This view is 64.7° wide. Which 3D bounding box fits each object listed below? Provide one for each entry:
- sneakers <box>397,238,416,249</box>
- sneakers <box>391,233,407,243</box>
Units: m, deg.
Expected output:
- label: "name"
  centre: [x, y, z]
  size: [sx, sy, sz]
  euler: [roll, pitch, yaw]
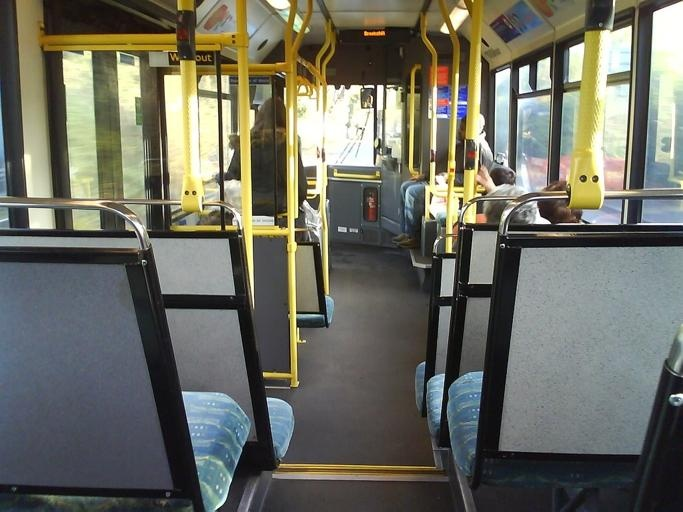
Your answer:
- label: "sneakers"
  centre: [1.022, -0.194, 8.382]
  size: [0.320, 0.149, 0.121]
  euler: [2, 8, 10]
- label: "sneakers"
  centre: [0.923, -0.294, 8.667]
  size: [0.263, 0.120, 0.117]
  euler: [-10, 11, -6]
